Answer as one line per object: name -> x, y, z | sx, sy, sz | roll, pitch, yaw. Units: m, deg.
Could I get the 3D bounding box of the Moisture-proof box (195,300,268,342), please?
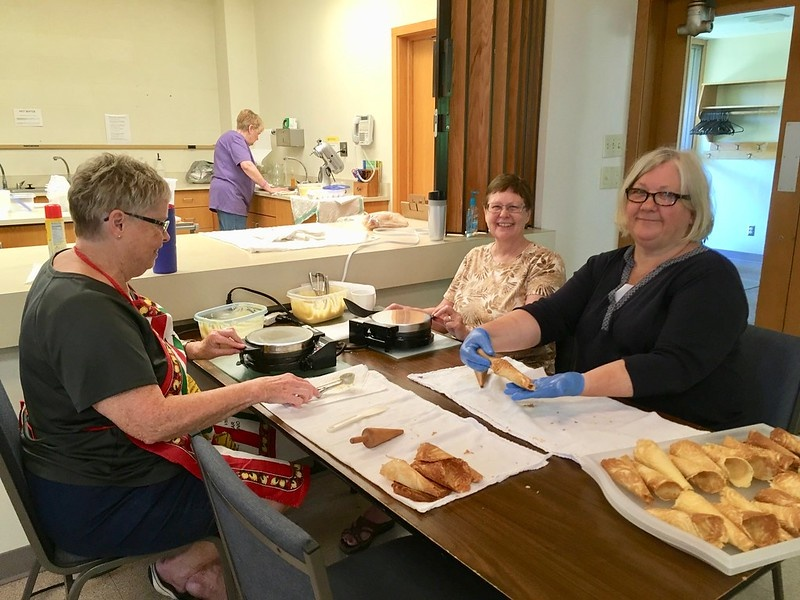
Moisture-proof box -> -0.597, 0.049, 1.957 | 0.185, 0.071, 0.154 | -19, 22, -41

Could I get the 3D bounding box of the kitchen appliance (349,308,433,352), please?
kitchen appliance -> -0.014, 0.082, 1.909 | 0.184, 0.063, 0.169 | -6, 12, -34

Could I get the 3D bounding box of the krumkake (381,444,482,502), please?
krumkake -> 0.064, 0.345, 1.146 | 0.121, 0.039, 0.119 | -19, 32, -34

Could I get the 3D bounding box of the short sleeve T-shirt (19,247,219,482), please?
short sleeve T-shirt -> -0.787, 0.199, 1.391 | 0.427, 0.590, 0.319 | -10, 18, -22

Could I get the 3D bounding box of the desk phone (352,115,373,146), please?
desk phone -> -0.363, -1.635, 5.248 | 0.073, 0.269, 0.253 | -18, 22, -39

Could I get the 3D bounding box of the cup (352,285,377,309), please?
cup -> -0.151, -0.012, 2.216 | 0.094, 0.075, 0.099 | -4, 12, 1

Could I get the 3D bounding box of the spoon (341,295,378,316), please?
spoon -> -0.156, 0.024, 2.081 | 0.118, 0.048, 0.063 | 12, -6, -28

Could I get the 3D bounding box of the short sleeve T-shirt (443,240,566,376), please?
short sleeve T-shirt -> 0.463, 0.025, 2.436 | 0.323, 0.540, 0.562 | -14, 16, -41

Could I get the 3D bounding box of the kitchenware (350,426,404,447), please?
kitchenware -> -0.056, 0.327, 1.297 | 0.117, 0.043, 0.044 | 3, -6, -35

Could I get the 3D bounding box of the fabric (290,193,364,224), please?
fabric -> -0.628, -0.750, 4.456 | 0.375, 0.230, 0.380 | 9, 14, 41

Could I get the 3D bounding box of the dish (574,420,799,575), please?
dish -> 0.538, 0.409, 1.088 | 0.187, 0.057, 0.399 | -13, 18, -31

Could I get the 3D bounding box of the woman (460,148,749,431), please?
woman -> 0.574, -0.079, 1.994 | 1.021, 1.058, 0.785 | -5, 8, -19

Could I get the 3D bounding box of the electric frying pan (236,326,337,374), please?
electric frying pan -> -0.342, 0.127, 1.702 | 0.194, 0.061, 0.182 | -8, 16, -37

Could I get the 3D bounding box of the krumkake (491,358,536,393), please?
krumkake -> 0.307, 0.205, 1.534 | 0.051, 0.049, 0.183 | -5, 22, -27

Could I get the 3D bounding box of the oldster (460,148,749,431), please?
oldster -> 0.759, -0.089, 2.059 | 1.021, 1.058, 0.785 | -5, 8, -19

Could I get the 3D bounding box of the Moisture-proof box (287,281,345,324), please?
Moisture-proof box -> -0.331, 0.000, 2.140 | 0.188, 0.095, 0.149 | -13, 19, -42

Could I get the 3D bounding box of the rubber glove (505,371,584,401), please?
rubber glove -> 0.396, 0.213, 1.478 | 0.166, 0.042, 0.093 | -10, 7, 6
